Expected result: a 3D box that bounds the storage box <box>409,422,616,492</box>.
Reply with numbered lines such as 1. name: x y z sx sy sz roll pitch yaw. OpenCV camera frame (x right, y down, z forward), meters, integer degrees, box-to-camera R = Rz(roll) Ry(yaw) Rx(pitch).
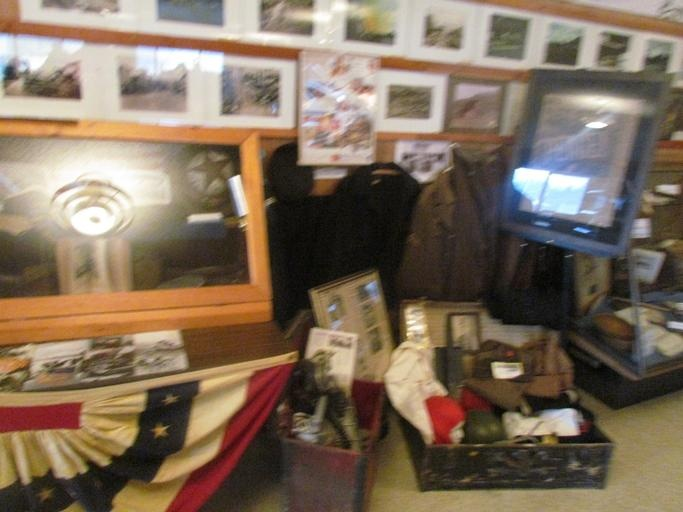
1. storage box: 0.502 0.610 1.578 0.348 0.077 0.302 -1 -2 -5
